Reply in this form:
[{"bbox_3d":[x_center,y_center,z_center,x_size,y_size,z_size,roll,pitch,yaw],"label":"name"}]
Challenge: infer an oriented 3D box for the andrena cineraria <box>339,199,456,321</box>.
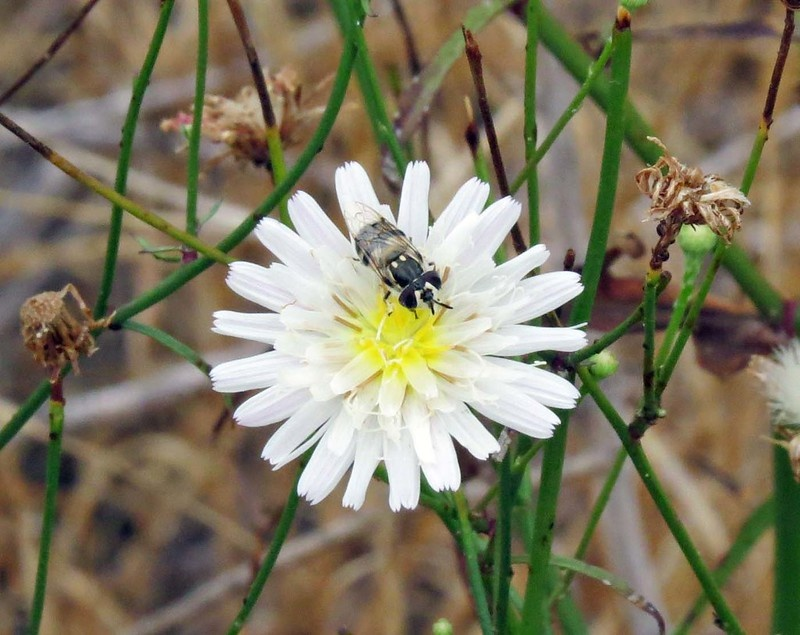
[{"bbox_3d":[-0.013,-0.101,1.555,0.132,0.059,0.207,-31,101,3],"label":"andrena cineraria"}]
